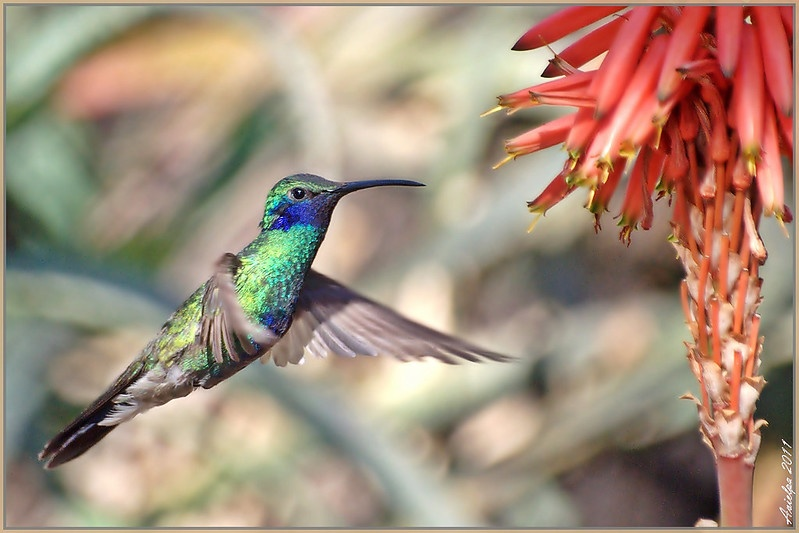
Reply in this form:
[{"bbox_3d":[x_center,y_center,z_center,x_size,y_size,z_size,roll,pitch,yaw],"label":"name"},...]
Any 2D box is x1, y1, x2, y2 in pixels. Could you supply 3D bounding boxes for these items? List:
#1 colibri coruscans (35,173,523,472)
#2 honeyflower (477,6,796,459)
[{"bbox_3d":[-0.254,0.034,1.973,0.838,0.358,0.745,-22,16,-30],"label":"colibri coruscans"},{"bbox_3d":[0.385,-0.080,1.609,0.480,0.712,0.176,7,8,4],"label":"honeyflower"}]
